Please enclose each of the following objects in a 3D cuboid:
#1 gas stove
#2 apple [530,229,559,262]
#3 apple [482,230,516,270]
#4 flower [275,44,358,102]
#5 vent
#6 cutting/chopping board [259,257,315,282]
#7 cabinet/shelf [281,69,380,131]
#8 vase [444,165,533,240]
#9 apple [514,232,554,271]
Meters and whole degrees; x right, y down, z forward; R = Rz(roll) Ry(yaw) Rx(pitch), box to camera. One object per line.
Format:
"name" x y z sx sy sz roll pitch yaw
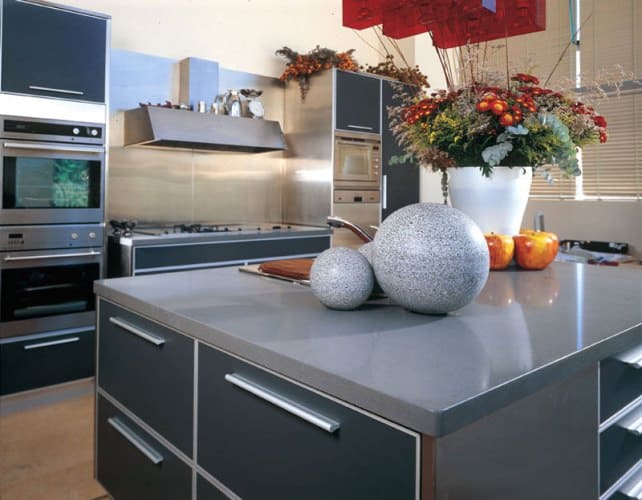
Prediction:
"gas stove" -0.806 -0.176 3.831 1.777 0.208 0.834 -7 10 -38
"apple" 0.804 -0.022 1.674 0.107 0.123 0.111 -1 5 21
"apple" 0.624 0.004 1.656 0.122 0.124 0.121 -6 8 -34
"flower" -0.088 -1.569 4.348 0.611 0.268 0.539 7 11 44
"vent" -0.937 -1.197 3.844 1.178 0.759 0.585 -9 10 -42
"cutting/chopping board" -0.109 0.065 1.519 0.184 0.034 0.283 -2 8 -7
"cabinet/shelf" 0.119 -1.199 4.456 0.789 0.538 0.555 -3 6 -42
"vase" 0.630 -0.141 1.796 0.263 0.299 0.266 1 -4 -34
"apple" 0.752 -0.001 1.648 0.129 0.129 0.132 0 3 40
